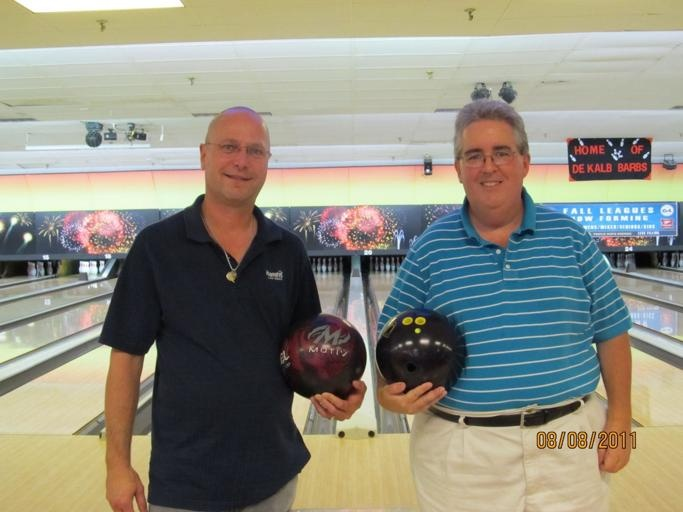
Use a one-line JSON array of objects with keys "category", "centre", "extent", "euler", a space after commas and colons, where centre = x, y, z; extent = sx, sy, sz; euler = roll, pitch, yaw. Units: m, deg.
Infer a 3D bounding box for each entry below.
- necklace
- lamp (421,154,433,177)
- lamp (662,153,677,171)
[{"category": "necklace", "centre": [-0.413, -0.034, 1.937], "extent": [0.308, 0.353, 0.032], "euler": [6, -33, -29]}, {"category": "lamp", "centre": [1.193, -1.251, 7.402], "extent": [0.203, 0.358, 0.197], "euler": [-1, 3, -5]}, {"category": "lamp", "centre": [4.528, -1.293, 7.389], "extent": [0.170, 0.193, 0.207], "euler": [-1, 5, 7]}]
